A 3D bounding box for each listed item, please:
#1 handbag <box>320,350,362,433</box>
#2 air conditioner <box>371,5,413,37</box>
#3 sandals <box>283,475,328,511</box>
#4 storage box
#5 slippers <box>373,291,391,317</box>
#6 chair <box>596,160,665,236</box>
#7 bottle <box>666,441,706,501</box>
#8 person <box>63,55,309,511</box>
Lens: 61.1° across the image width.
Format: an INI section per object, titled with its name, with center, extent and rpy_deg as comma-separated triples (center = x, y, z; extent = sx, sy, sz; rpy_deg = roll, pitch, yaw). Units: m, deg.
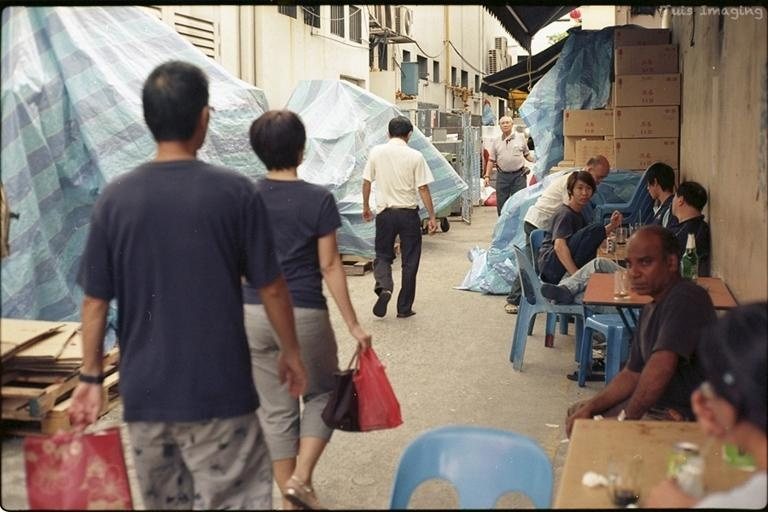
[handbag]
center = -0.262, 0.825, 3.939
extent = 0.229, 0.478, 0.235
rpy_deg = -1, 12, -5
[air conditioner]
center = 0.214, -7.736, 21.009
extent = 0.789, 1.063, 2.749
rpy_deg = 3, 12, 16
[sandals]
center = -0.483, 1.422, 3.896
extent = 0.270, 0.112, 0.126
rpy_deg = 37, -20, -29
[storage box]
center = 3.443, -2.075, 9.662
extent = 1.916, 2.140, 3.272
rpy_deg = 1, 2, 11
[slippers]
center = -0.029, 0.600, 8.258
extent = 0.176, 0.371, 0.148
rpy_deg = 23, 19, 10
[chair]
center = 3.295, -0.681, 8.784
extent = 0.534, 0.584, 0.499
rpy_deg = -2, 11, 39
[bottle]
center = 1.232, 0.872, 2.641
extent = 0.141, 0.178, 0.204
rpy_deg = 5, 13, 25
[person]
center = -0.970, 0.205, 3.110
extent = 1.041, 2.214, 0.416
rpy_deg = -2, 12, -7
